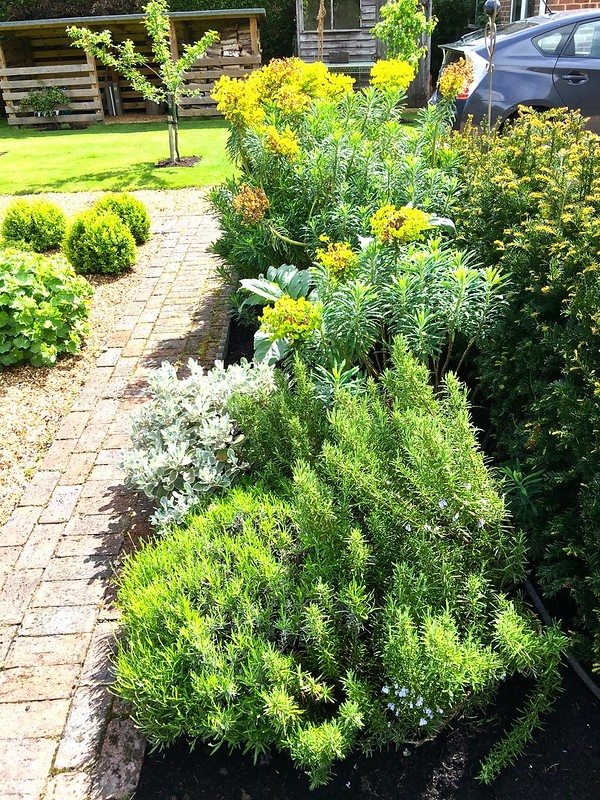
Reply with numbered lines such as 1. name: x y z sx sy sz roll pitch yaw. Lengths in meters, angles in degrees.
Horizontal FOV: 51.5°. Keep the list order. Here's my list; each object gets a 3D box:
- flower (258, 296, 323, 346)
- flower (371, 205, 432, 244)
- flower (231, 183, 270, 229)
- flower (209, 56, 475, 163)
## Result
1. flower: -0.022 -0.329 2.614 0.208 0.211 0.177 -14 58 40
2. flower: 0.420 -0.724 2.614 0.225 0.179 0.206 4 31 14
3. flower: -0.264 -1.047 3.339 0.171 0.209 0.152 -2 30 5
4. flower: 0.048 -1.881 3.802 0.983 0.422 0.923 -9 26 -11
